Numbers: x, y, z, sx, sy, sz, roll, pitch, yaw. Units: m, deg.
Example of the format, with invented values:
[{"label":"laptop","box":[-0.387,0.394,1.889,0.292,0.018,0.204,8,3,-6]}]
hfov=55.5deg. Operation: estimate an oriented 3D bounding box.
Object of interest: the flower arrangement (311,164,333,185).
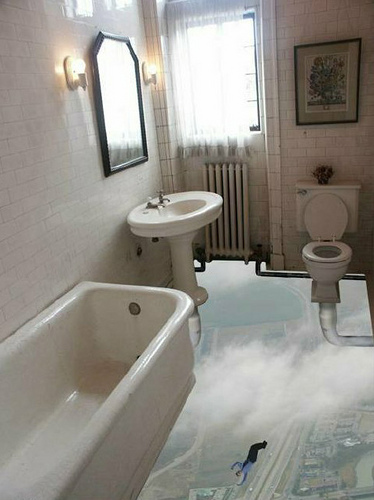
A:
[{"label":"flower arrangement","box":[1.141,-0.639,3.035,0.156,0.167,0.163,-5,0,-40]}]

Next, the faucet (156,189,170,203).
[{"label":"faucet","box":[-0.188,-0.452,2.892,0.116,0.114,0.063,-2,26,-3]}]

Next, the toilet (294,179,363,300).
[{"label":"toilet","box":[1.139,-0.099,2.960,0.553,0.916,0.694,2,19,27]}]

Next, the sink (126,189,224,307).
[{"label":"sink","box":[-0.032,0.025,2.867,0.530,0.839,0.825,10,26,35]}]
